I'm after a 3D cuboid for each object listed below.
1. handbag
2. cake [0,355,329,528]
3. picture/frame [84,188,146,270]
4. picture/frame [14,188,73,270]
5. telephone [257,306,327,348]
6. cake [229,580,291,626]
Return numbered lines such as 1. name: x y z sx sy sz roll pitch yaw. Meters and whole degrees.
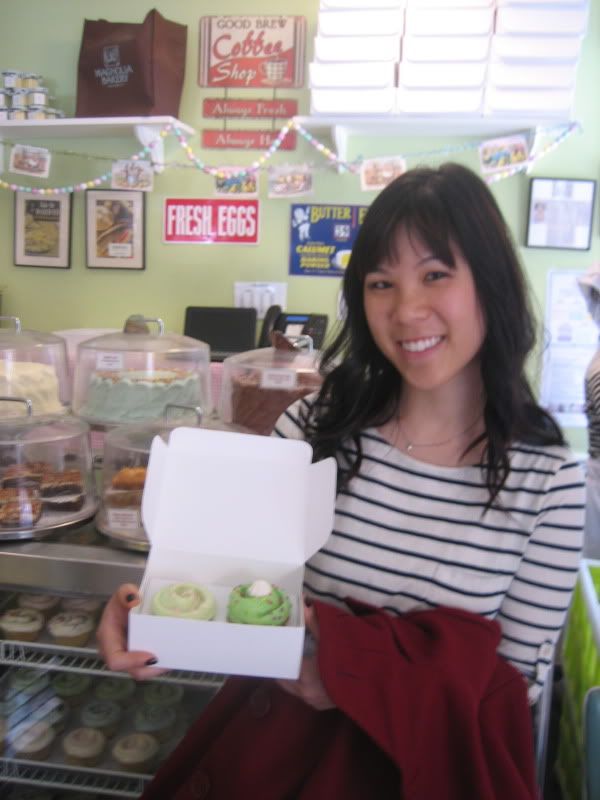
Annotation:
1. handbag: -0.847 -1.705 3.214 0.579 0.597 0.372 4 5 17
2. cake: -0.258 0.053 1.425 0.440 0.191 0.458 -1 4 -29
3. picture/frame: -1.026 -0.976 3.530 0.395 0.540 0.051 2 11 7
4. picture/frame: -1.457 -0.994 3.596 0.402 0.530 0.034 3 3 3
5. telephone: -0.037 -0.370 3.031 0.273 0.274 0.105 2 -30 18
6. cake: -0.046 0.209 0.685 0.050 0.026 0.051 0 0 -27
